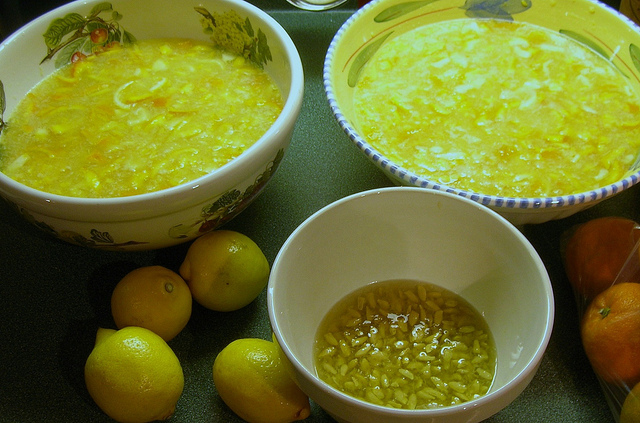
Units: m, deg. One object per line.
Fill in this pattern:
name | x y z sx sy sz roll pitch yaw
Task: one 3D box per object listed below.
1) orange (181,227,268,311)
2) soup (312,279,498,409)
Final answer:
orange | -0.158 0.099 0.967 0.134 0.117 0.128 8 19 1
soup | 0.135 0.200 0.867 0.283 0.026 0.212 8 63 7
